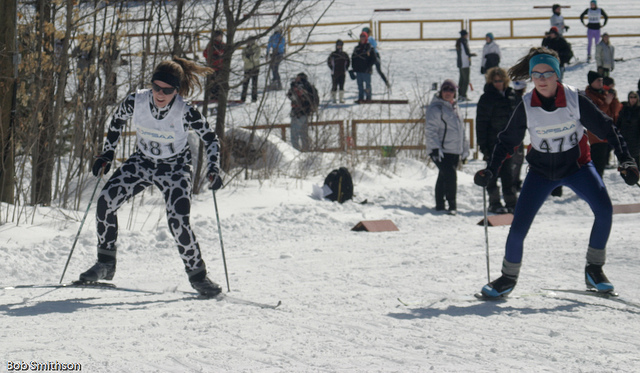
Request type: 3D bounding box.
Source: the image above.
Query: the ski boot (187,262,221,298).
[{"bbox_3d":[-1.751,1.382,11.704,0.460,0.445,0.254,8,17,32],"label":"ski boot"}]

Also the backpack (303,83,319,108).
[{"bbox_3d":[-0.332,-2.178,18.354,0.123,0.529,0.385,-28,5,-17],"label":"backpack"}]

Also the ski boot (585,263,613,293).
[{"bbox_3d":[3.799,1.282,11.452,0.208,0.465,0.647,-2,7,-11],"label":"ski boot"}]

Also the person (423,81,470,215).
[{"bbox_3d":[2.271,-0.823,15.649,0.700,2.523,0.716,6,16,28],"label":"person"}]

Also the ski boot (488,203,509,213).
[{"bbox_3d":[3.242,0.439,15.600,0.156,0.186,0.386,1,-2,-41],"label":"ski boot"}]

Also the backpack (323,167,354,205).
[{"bbox_3d":[0.233,0.005,16.242,0.553,0.800,0.406,12,-1,23],"label":"backpack"}]

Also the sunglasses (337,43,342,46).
[{"bbox_3d":[0.354,-3.979,21.926,0.087,0.084,0.145,11,19,38],"label":"sunglasses"}]
